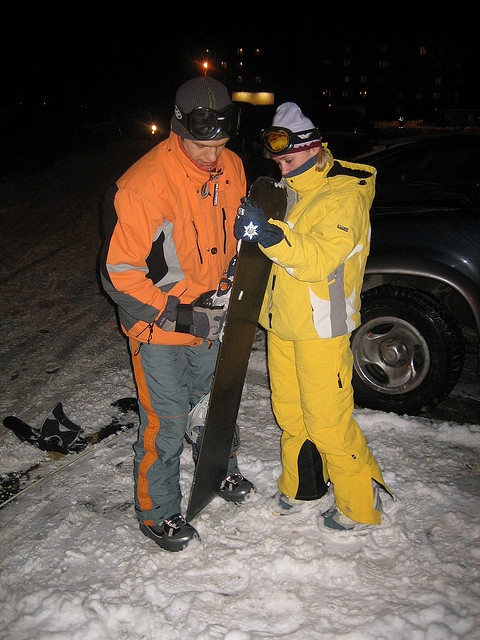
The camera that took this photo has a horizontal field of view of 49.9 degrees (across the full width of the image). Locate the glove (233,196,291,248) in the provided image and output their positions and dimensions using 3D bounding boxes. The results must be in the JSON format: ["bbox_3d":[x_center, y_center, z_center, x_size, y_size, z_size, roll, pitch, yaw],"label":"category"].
[{"bbox_3d":[0.060,-0.327,1.802,0.153,0.175,0.230,-7,26,-20],"label":"glove"}]

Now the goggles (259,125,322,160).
[{"bbox_3d":[0.199,-0.659,1.959,0.192,0.081,0.139,-16,28,-16],"label":"goggles"}]

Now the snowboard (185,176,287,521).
[{"bbox_3d":[-0.132,0.317,2.313,0.308,1.861,0.130,4,14,-42],"label":"snowboard"}]

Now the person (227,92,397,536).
[{"bbox_3d":[0.366,-0.026,2.391,0.865,1.795,1.130,1,25,-2],"label":"person"}]

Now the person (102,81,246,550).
[{"bbox_3d":[-0.257,0.017,2.148,0.497,1.855,0.741,10,26,16],"label":"person"}]
